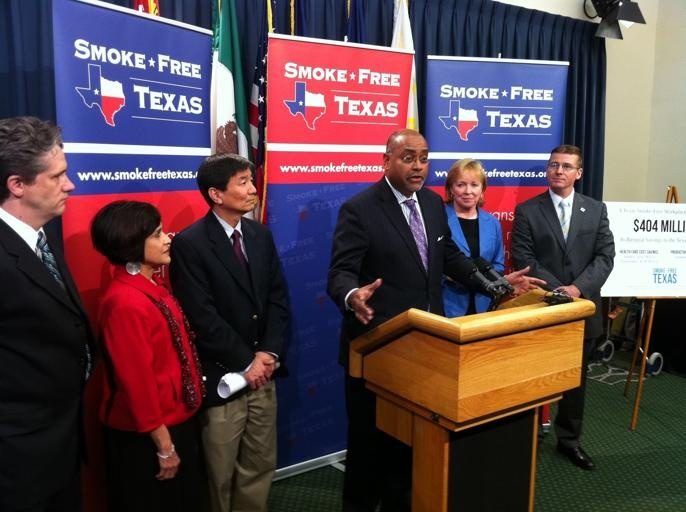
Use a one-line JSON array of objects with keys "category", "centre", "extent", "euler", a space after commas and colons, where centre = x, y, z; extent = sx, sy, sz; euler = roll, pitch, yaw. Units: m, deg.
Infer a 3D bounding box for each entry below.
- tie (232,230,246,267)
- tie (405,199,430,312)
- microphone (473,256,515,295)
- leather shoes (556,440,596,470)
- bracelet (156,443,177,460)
[{"category": "tie", "centre": [-0.543, -0.042, 2.774], "extent": [0.045, 0.234, 0.055], "euler": [-13, -16, -3]}, {"category": "tie", "centre": [0.349, -0.030, 2.489], "extent": [0.059, 0.499, 0.054], "euler": [-10, -29, 10]}, {"category": "microphone", "centre": [0.660, 0.085, 2.332], "extent": [0.048, 0.144, 0.144], "euler": [-35, -40, 0]}, {"category": "leather shoes", "centre": [1.579, 1.322, 3.638], "extent": [0.094, 0.120, 0.270], "euler": [-13, 13, -21]}, {"category": "bracelet", "centre": [-0.782, 0.866, 2.380], "extent": [0.058, 0.033, 0.052], "euler": [3, 6, 42]}]
